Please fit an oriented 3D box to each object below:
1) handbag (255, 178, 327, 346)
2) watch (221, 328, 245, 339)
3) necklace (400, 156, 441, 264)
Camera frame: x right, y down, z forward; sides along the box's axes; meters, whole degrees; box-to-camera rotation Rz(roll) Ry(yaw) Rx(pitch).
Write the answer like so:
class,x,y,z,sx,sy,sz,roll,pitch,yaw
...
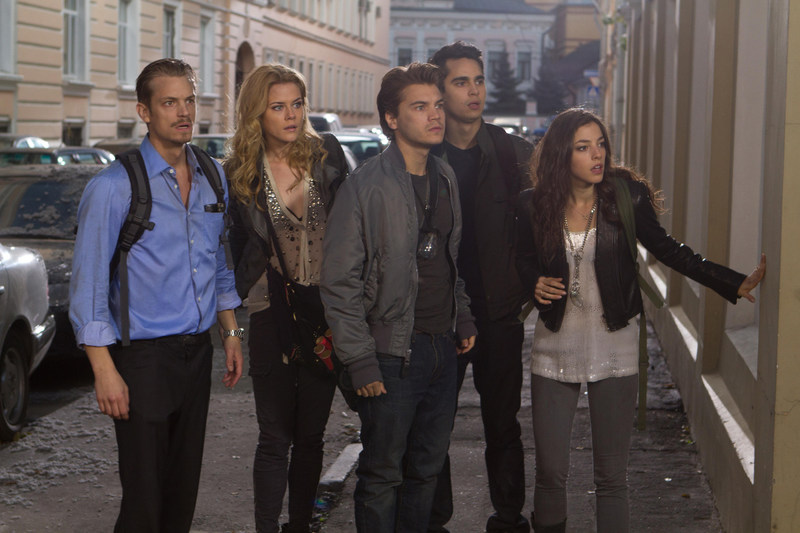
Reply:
class,x,y,z,sx,sy,sz,roll,pitch,yaw
handbag,-0.590,0.139,4.862,0.372,1.426,0.320,-3,16,-8
watch,-0.935,0.381,4.672,0.081,0.061,0.088,7,-7,-24
necklace,0.142,-0.288,4.353,0.083,0.386,0.257,4,1,18
